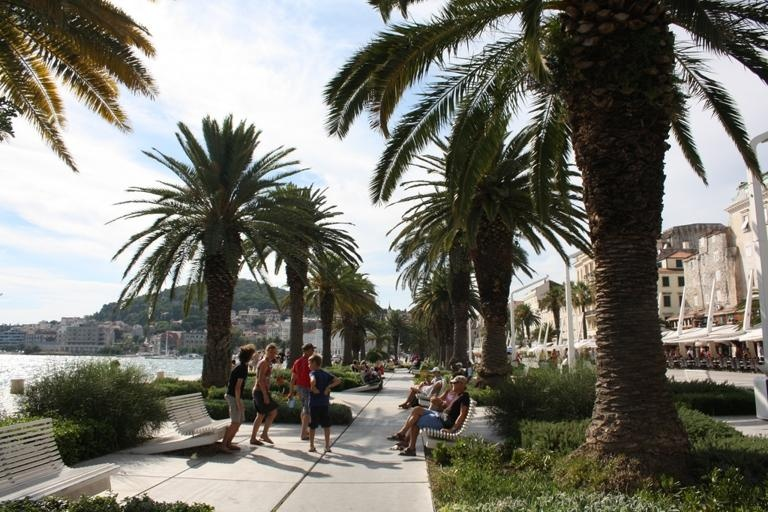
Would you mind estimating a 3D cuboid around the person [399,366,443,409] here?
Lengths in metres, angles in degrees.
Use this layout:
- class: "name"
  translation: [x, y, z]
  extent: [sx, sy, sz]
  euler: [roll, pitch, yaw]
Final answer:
- class: "person"
  translation: [1.207, 4.174, 16.516]
  extent: [1.138, 1.599, 0.733]
  euler: [15, 5, -1]

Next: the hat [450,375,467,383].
- class: "hat"
  translation: [1.729, 2.777, 11.857]
  extent: [0.303, 0.136, 0.219]
  euler: [2, -15, 0]

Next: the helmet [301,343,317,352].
- class: "helmet"
  translation: [-1.835, 2.307, 13.066]
  extent: [0.301, 0.154, 0.231]
  euler: [-3, 1, -24]

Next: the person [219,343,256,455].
- class: "person"
  translation: [-3.344, 3.152, 11.972]
  extent: [0.580, 2.310, 1.428]
  euler: [3, -13, -16]
